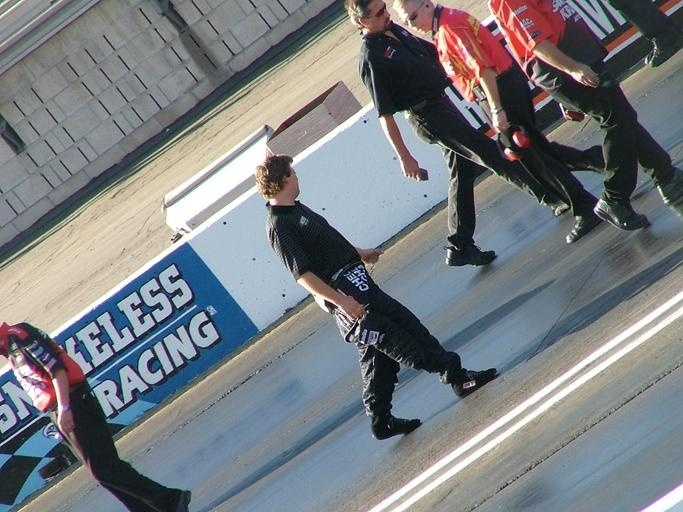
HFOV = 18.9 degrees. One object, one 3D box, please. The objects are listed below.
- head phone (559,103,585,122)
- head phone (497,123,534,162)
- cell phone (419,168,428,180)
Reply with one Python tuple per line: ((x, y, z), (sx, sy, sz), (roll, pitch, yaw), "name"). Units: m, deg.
((3.063, -1.844, 27.192), (0.228, 0.310, 0.295), (35, -118, -85), "head phone")
((2.282, -1.442, 27.036), (0.345, 0.483, 0.161), (-51, -19, 18), "head phone")
((1.073, -1.063, 27.352), (0.119, 0.171, 0.167), (-4, 1, 15), "cell phone")
